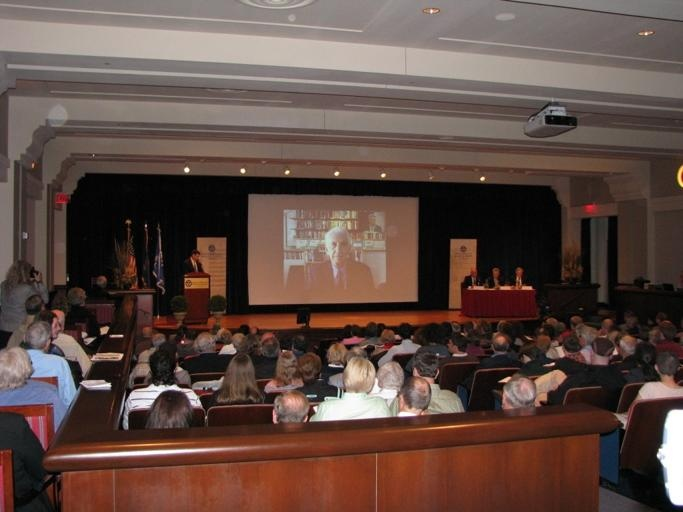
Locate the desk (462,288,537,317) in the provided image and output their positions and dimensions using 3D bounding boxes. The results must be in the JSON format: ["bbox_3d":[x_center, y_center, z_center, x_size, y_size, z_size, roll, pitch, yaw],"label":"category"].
[{"bbox_3d":[3.947,1.225,14.367,1.651,0.814,1.494,0,0,-9],"label":"desk"}]
